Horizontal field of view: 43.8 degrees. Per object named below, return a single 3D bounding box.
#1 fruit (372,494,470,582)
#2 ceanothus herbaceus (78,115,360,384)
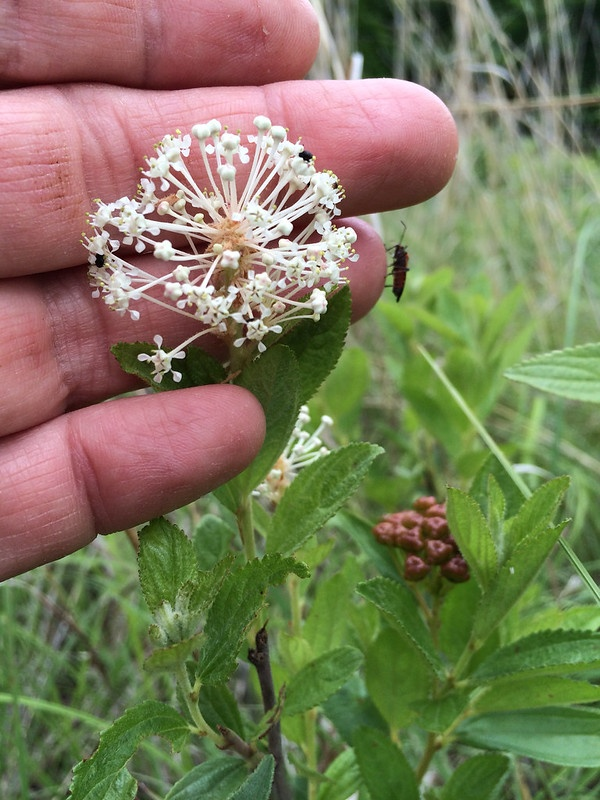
[{"bbox_3d":[0.269,0.315,1.652,0.217,0.113,0.192,13,73,15],"label":"fruit"},{"bbox_3d":[-0.143,-0.285,1.675,0.619,0.616,0.528,-2,-8,-22],"label":"ceanothus herbaceus"}]
